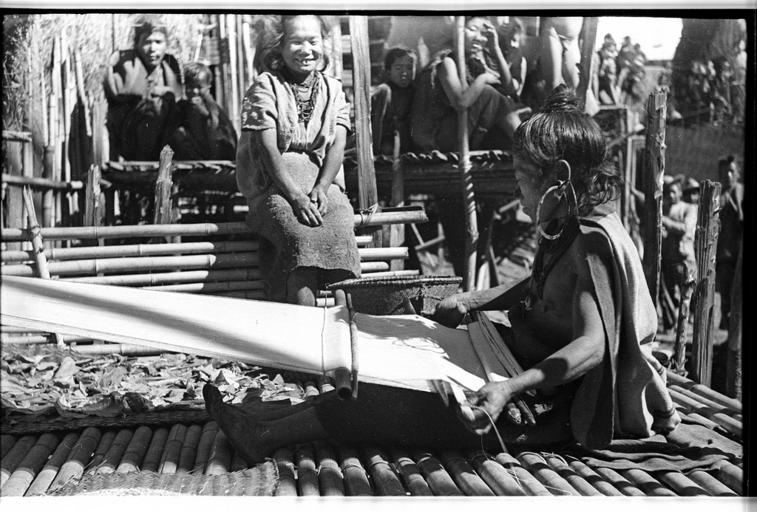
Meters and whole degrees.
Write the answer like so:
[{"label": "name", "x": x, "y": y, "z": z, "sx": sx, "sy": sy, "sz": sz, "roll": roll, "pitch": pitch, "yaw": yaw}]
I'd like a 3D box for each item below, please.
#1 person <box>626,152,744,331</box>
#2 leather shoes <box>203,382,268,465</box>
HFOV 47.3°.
[{"label": "person", "x": 1.835, "y": -0.160, "z": 4.896, "sx": 0.577, "sy": 0.779, "sz": 0.258, "roll": -2, "pitch": 4, "yaw": 1}, {"label": "leather shoes", "x": -0.770, "y": 0.916, "z": 4.643, "sx": 0.127, "sy": 0.465, "sz": 0.275, "roll": -24, "pitch": -20, "yaw": -50}]
